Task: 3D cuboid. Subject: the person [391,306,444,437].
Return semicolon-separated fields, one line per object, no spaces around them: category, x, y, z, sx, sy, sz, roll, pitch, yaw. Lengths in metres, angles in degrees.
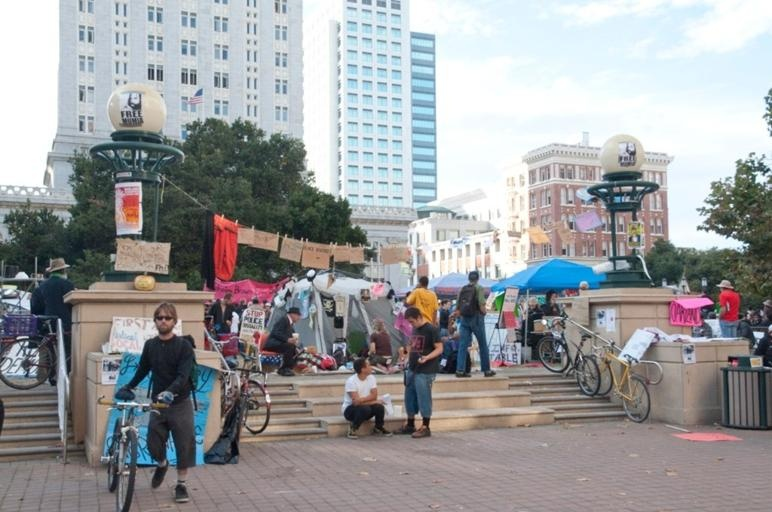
person;0.814;2.676;21.287;0.948;2.966;0.663;-1;-2;1

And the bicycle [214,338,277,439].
bicycle;-3.172;3.180;21.348;1.553;1.544;2.572;1;-8;-19

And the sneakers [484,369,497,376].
sneakers;2.721;3.044;23.918;0.359;0.202;0.132;-3;3;-45

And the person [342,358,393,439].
person;-0.508;3.249;21.121;0.957;1.766;0.353;-1;-2;0

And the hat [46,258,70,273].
hat;-10.853;0.301;30.564;0.810;0.320;0.703;-13;12;-2

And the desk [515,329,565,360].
desk;4.657;2.698;27.952;1.258;1.148;0.870;2;-11;-13

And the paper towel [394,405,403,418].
paper towel;0.272;3.713;21.865;0.239;0.221;0.232;1;2;-6

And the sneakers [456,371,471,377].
sneakers;1.998;3.042;23.680;0.394;0.159;0.132;0;1;-32

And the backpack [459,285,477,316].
backpack;2.131;1.164;23.740;0.508;0.815;0.311;-1;-2;1

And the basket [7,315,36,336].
basket;-8.481;1.620;21.348;0.861;0.443;0.609;2;4;-2

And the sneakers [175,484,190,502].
sneakers;-3.879;4.519;17.556;0.282;0.354;0.219;-1;-2;-12

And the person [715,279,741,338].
person;9.757;1.510;26.171;0.528;1.574;0.742;-2;-2;19

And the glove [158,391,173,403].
glove;-4.152;2.654;17.271;0.235;0.190;0.254;-30;13;-24
